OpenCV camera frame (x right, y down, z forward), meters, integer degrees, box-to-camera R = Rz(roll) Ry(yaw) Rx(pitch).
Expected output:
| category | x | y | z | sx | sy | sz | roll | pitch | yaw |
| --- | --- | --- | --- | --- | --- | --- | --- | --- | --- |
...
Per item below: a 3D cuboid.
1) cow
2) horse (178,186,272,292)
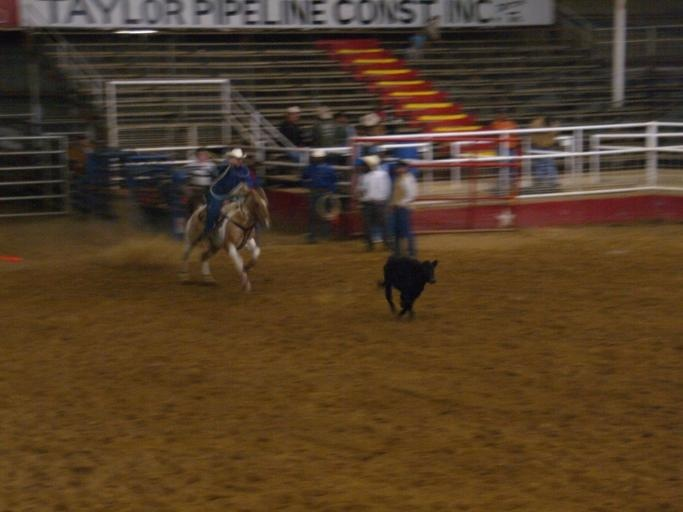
| category | x | y | z | sx | sy | sz | roll | pitch | yaw |
| --- | --- | --- | --- | --- | --- | --- | --- | --- | --- |
| cow | 0.820 | 0.367 | 11.548 | 0.344 | 0.725 | 0.787 | -2 | 8 | -29 |
| horse | -1.637 | -0.322 | 13.446 | 0.686 | 1.425 | 1.414 | -4 | 9 | -40 |
